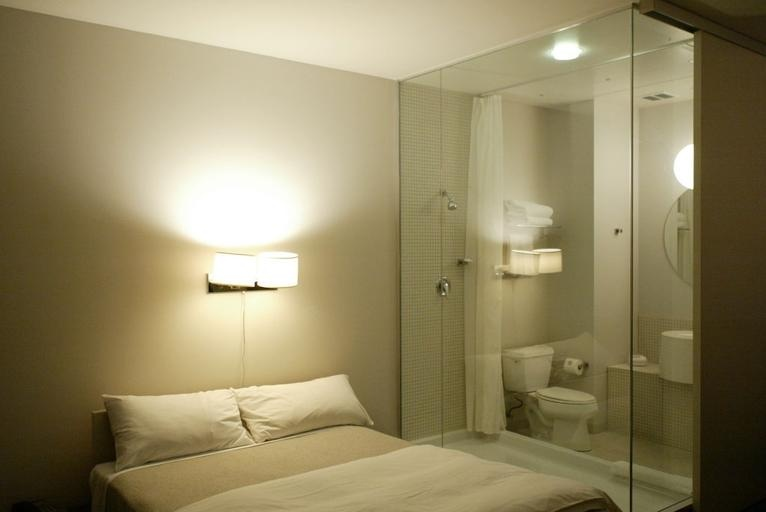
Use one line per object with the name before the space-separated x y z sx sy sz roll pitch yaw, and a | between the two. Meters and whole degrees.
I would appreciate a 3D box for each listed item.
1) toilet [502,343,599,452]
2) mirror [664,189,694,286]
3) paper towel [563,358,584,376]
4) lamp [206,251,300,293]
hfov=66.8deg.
toilet | 1.319 1.102 4.611 0.393 0.711 0.733 0 1 -38
mirror | 2.187 -0.139 4.321 0.209 0.690 0.195 2 11 18
paper towel | 1.434 0.832 4.407 0.113 0.132 0.144 -22 7 -35
lamp | -0.960 0.124 4.770 0.519 0.245 0.284 2 22 18
